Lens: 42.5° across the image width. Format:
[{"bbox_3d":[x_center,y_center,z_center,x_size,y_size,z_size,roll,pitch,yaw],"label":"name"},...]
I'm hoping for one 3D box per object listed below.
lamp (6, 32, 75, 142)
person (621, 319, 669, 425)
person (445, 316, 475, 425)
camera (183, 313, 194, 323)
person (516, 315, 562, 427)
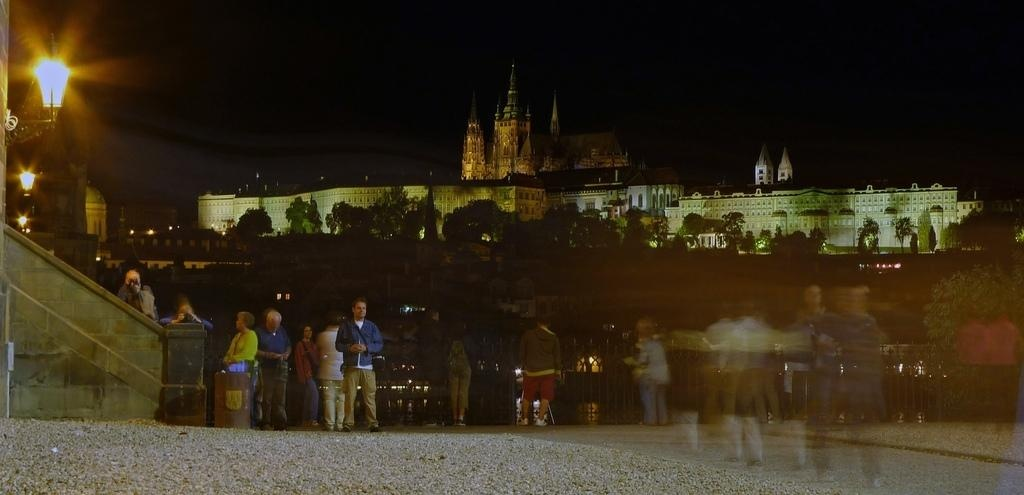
[{"bbox_3d":[-14.209,-4.763,39.616,1.078,3.176,2.162,11,-15,-40],"label":"lamp"},{"bbox_3d":[4.310,3.902,41.740,1.330,3.499,1.110,-1,-1,-4],"label":"person"},{"bbox_3d":[-1.724,4.147,43.414,0.778,3.483,1.479,1,-11,-2],"label":"person"},{"bbox_3d":[-9.988,2.194,40.766,0.260,0.271,0.097,10,0,4],"label":"camera"},{"bbox_3d":[0.908,3.891,41.455,1.364,3.266,1.044,3,-5,15],"label":"person"}]
